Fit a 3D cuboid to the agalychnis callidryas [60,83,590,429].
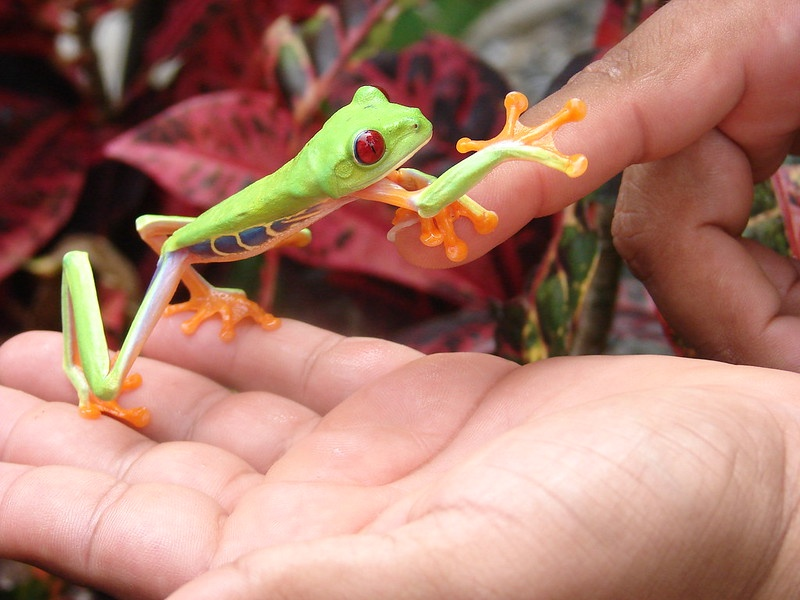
[{"bbox_3d":[-0.098,-0.074,1.266,0.724,0.362,0.500,-7,35,15],"label":"agalychnis callidryas"}]
